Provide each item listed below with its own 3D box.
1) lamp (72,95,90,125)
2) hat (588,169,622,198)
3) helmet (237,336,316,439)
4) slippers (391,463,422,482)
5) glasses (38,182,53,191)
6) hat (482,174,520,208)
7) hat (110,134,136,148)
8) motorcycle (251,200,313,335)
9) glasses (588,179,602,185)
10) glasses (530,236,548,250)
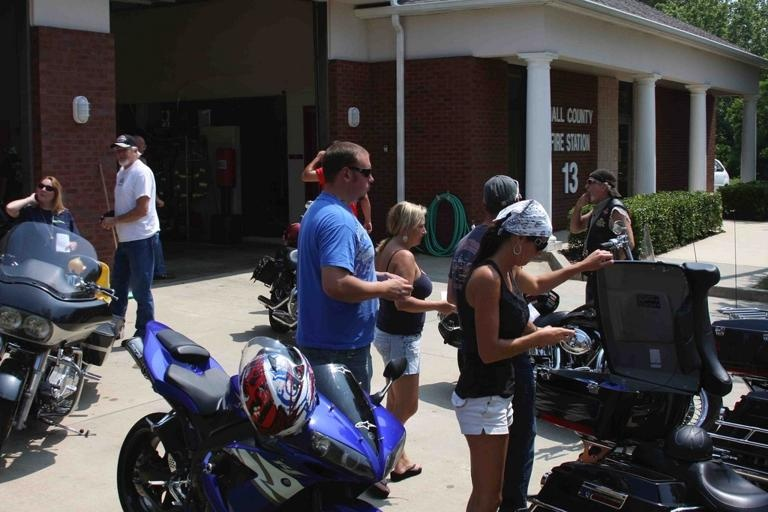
[{"bbox_3d":[-5.471,-2.620,10.861,0.283,0.533,0.142,-1,5,-28],"label":"lamp"},{"bbox_3d":[2.770,-0.893,7.389,0.416,0.353,0.319,9,6,10],"label":"hat"},{"bbox_3d":[-0.560,0.622,3.061,0.353,0.499,0.401,-3,17,-25],"label":"helmet"},{"bbox_3d":[0.206,1.798,5.028,0.283,0.117,0.103,-12,12,-36],"label":"slippers"},{"bbox_3d":[-3.953,-0.788,7.023,0.228,0.095,0.087,4,5,27],"label":"glasses"},{"bbox_3d":[0.898,-0.499,4.560,0.309,0.198,0.243,-1,12,5],"label":"hat"},{"bbox_3d":[-3.287,-1.433,7.640,0.202,0.190,0.353,-1,5,-31],"label":"hat"},{"bbox_3d":[-1.488,0.355,8.697,1.183,1.425,1.940,6,0,-13],"label":"motorcycle"},{"bbox_3d":[2.540,-0.883,7.267,0.076,0.022,0.079,18,2,-3],"label":"glasses"},{"bbox_3d":[0.940,-0.064,3.603,0.085,0.089,0.188,3,5,23],"label":"glasses"}]
